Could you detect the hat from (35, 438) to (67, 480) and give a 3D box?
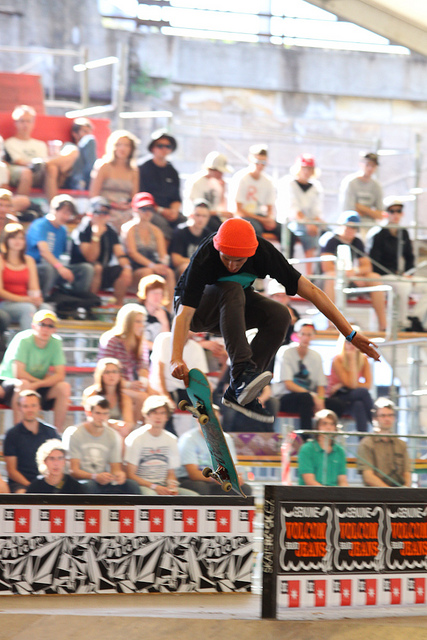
[{"bbox_3d":[-1.500,1.304,11.969,0.287,0.358,0.146,3,-2,-11],"label":"hat"}]

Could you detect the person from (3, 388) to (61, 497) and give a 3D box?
[{"bbox_3d":[-1.702,1.148,12.084,0.388,0.916,0.375,2,-2,19],"label":"person"}]

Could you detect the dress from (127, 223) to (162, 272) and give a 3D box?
[{"bbox_3d":[-0.740,-0.764,13.916,0.362,0.501,0.142,3,-2,-6],"label":"dress"}]

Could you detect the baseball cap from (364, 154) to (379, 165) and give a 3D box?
[{"bbox_3d":[1.856,-1.895,15.319,0.099,0.111,0.202,1,-2,36],"label":"baseball cap"}]

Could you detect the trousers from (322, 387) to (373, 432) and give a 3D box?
[{"bbox_3d":[1.356,0.922,13.231,0.497,0.432,0.236,2,-2,4],"label":"trousers"}]

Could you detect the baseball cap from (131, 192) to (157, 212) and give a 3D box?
[{"bbox_3d":[-0.751,-1.276,14.164,0.259,0.236,0.389,2,-2,1],"label":"baseball cap"}]

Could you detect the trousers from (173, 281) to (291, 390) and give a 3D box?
[{"bbox_3d":[0.158,0.137,10.588,0.744,0.875,0.543,2,-2,21],"label":"trousers"}]

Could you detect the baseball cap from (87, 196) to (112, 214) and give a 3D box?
[{"bbox_3d":[-1.224,-1.222,14.007,0.214,0.142,0.213,16,-5,39],"label":"baseball cap"}]

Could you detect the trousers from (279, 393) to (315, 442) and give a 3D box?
[{"bbox_3d":[0.827,0.928,13.100,0.352,0.356,0.158,2,-3,21],"label":"trousers"}]

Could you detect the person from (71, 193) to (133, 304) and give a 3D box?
[{"bbox_3d":[-1.188,-0.716,13.848,0.671,1.114,0.288,3,-2,-9],"label":"person"}]

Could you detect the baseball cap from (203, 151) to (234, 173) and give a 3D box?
[{"bbox_3d":[0.040,-1.804,14.886,0.294,0.282,0.477,2,-2,5],"label":"baseball cap"}]

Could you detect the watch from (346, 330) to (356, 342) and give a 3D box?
[{"bbox_3d":[1.097,0.141,10.448,0.020,0.073,0.076,39,-43,1],"label":"watch"}]

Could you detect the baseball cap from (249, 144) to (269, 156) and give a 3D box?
[{"bbox_3d":[0.520,-1.960,15.055,0.177,0.153,0.325,2,-2,8],"label":"baseball cap"}]
